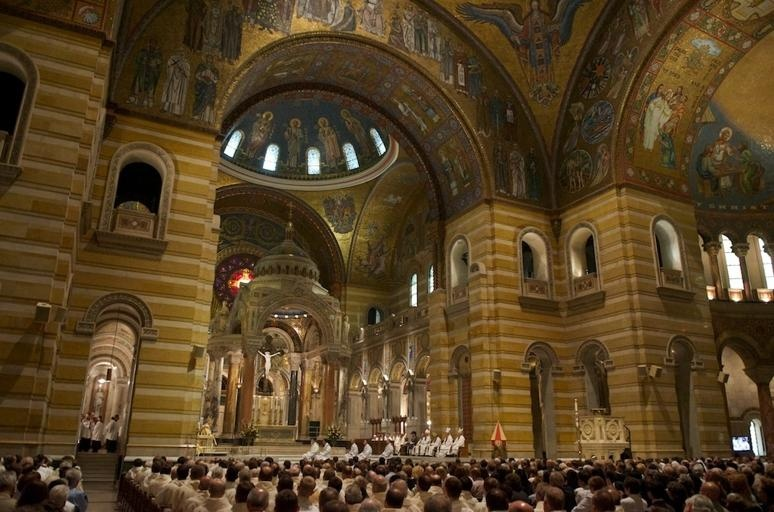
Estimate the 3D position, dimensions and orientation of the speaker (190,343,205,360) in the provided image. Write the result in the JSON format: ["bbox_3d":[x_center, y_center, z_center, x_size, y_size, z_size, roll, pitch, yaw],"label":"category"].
[{"bbox_3d":[-6.515,3.289,19.190,0.371,0.453,0.398,13,1,-2],"label":"speaker"}]

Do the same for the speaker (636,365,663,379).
[{"bbox_3d":[10.469,4.567,21.903,0.761,0.558,0.354,4,-14,-11],"label":"speaker"}]

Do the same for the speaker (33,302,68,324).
[{"bbox_3d":[-9.352,1.600,15.367,0.518,0.664,0.899,9,-2,5],"label":"speaker"}]
